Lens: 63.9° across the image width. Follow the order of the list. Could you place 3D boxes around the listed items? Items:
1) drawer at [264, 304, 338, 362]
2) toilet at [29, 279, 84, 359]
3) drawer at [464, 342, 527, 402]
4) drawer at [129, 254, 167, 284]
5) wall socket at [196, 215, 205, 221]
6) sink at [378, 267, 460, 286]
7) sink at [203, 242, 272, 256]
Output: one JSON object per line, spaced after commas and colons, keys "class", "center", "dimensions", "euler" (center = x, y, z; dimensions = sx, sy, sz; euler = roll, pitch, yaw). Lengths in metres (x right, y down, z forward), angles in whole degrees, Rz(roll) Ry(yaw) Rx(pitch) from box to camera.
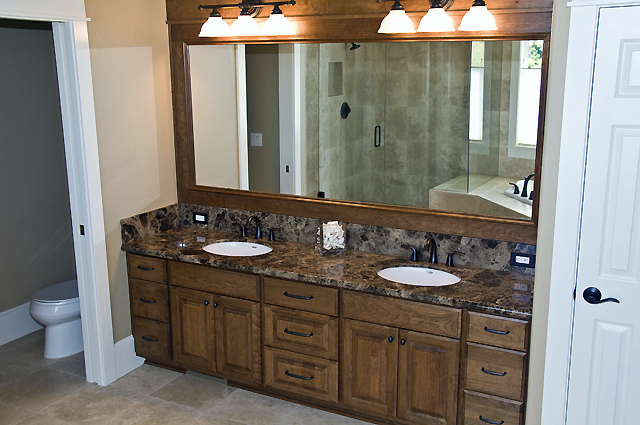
{"class": "drawer", "center": [-0.035, 0.891, 3.942], "dimensions": [0.716, 0.362, 0.452], "euler": [2, 0, 39]}
{"class": "toilet", "center": [-2.396, 0.990, 4.709], "dimensions": [0.418, 0.546, 0.435], "euler": [-11, 19, -28]}
{"class": "drawer", "center": [1.138, 1.020, 3.336], "dimensions": [0.359, 0.246, 0.384], "euler": [3, 2, 32]}
{"class": "drawer", "center": [-1.405, 0.449, 4.232], "dimensions": [0.273, 0.155, 0.272], "euler": [7, 7, 21]}
{"class": "wall socket", "center": [-1.075, 0.046, 4.598], "dimensions": [0.084, 0.051, 0.044], "euler": [3, 7, 19]}
{"class": "sink", "center": [0.711, 0.468, 3.736], "dimensions": [0.570, 0.108, 0.162], "euler": [1, 16, 8]}
{"class": "sink", "center": [-0.663, 0.315, 4.210], "dimensions": [0.554, 0.098, 0.224], "euler": [3, 17, 16]}
